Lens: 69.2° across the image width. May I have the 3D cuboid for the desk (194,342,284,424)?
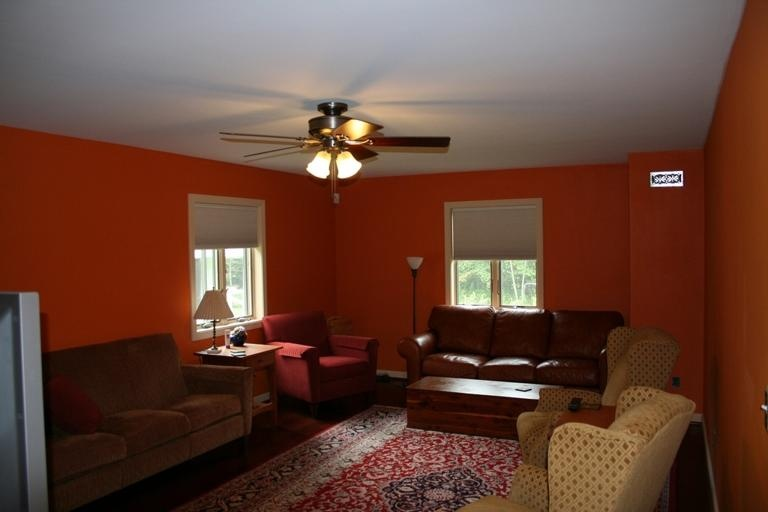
[{"bbox_3d":[-1.543,1.362,6.260,0.812,1.046,0.943,-1,-2,20],"label":"desk"}]

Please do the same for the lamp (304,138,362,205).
[{"bbox_3d":[-0.463,-0.683,4.612,0.454,0.458,0.450,8,19,7],"label":"lamp"}]

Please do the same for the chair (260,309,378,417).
[{"bbox_3d":[-0.778,1.210,6.733,1.347,0.944,1.352,0,-2,-11],"label":"chair"}]

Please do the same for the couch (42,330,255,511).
[{"bbox_3d":[-2.150,1.363,4.886,0.889,1.144,1.830,3,7,35],"label":"couch"}]

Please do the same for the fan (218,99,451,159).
[{"bbox_3d":[-0.489,-0.988,4.324,1.699,0.294,1.641,-4,6,-39],"label":"fan"}]

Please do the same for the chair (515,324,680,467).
[{"bbox_3d":[1.701,1.068,4.399,1.328,1.373,1.125,0,-3,17],"label":"chair"}]

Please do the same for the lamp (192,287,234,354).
[{"bbox_3d":[-1.817,0.692,5.859,0.463,0.657,0.443,-3,-5,-11],"label":"lamp"}]
